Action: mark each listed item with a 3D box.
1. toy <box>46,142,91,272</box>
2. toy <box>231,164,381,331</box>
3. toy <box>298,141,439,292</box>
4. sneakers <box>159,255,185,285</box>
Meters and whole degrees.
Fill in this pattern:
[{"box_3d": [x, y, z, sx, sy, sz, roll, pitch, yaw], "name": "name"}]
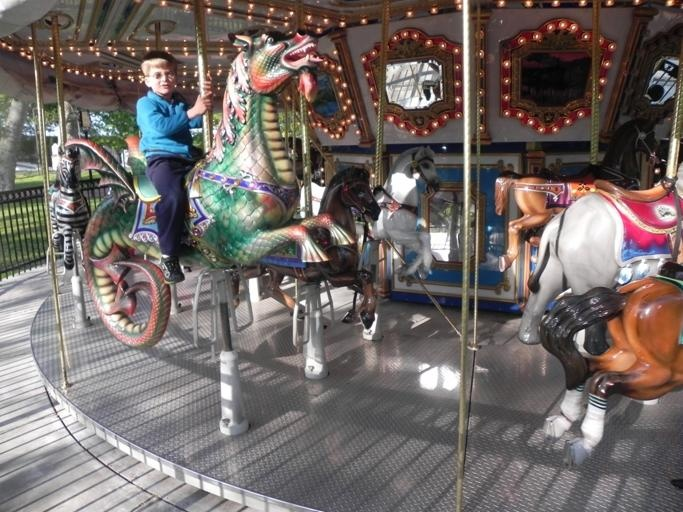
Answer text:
[{"box_3d": [-2.474, -0.445, 4.909, 0.287, 1.051, 1.002, -8, 12, -33], "name": "toy"}, {"box_3d": [-0.377, -0.101, 5.566, 1.595, 1.585, 0.500, 2, 7, 21], "name": "toy"}, {"box_3d": [0.394, -0.581, 6.376, 0.523, 1.419, 1.758, -3, 7, -42], "name": "toy"}, {"box_3d": [-1.205, 0.091, 3.798, 0.105, 0.134, 0.280, -10, 26, -42], "name": "sneakers"}]
